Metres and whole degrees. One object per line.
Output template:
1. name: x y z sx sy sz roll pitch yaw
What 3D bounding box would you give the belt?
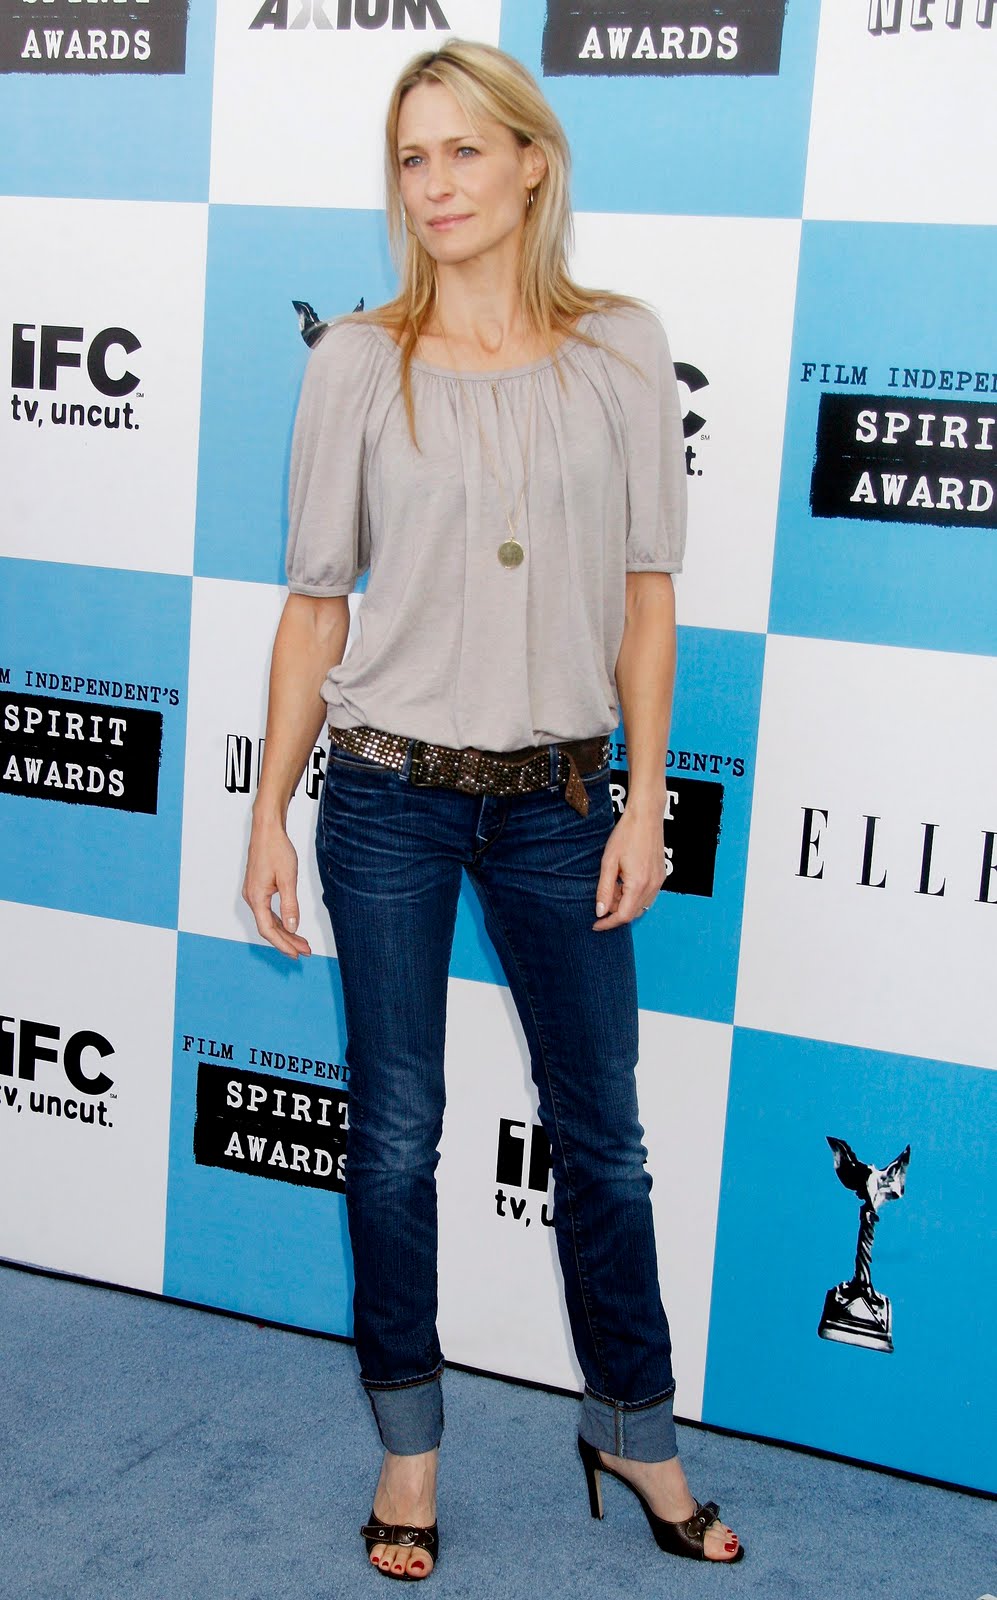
1. belt: -0.024 -0.026 1.163 0.254 0.069 0.116 3 1 -10

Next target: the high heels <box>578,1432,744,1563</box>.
1. high heels: 0.184 0.729 1.344 0.200 0.111 0.071 7 10 23

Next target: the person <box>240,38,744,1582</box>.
1. person: 0.022 0.057 1.234 0.482 1.354 0.278 2 0 -26
